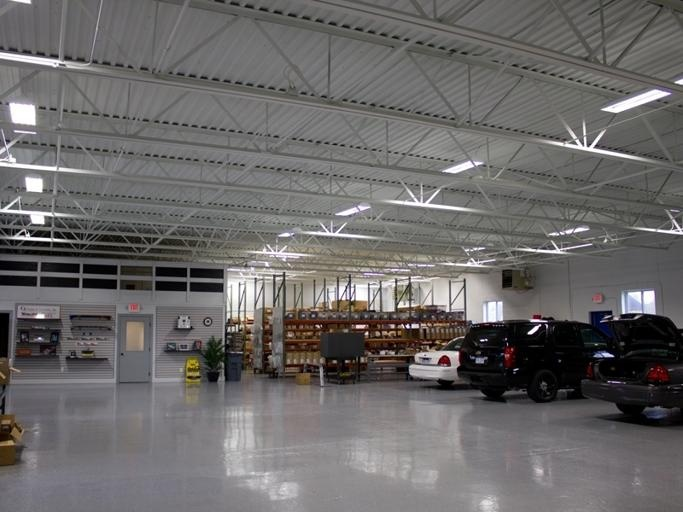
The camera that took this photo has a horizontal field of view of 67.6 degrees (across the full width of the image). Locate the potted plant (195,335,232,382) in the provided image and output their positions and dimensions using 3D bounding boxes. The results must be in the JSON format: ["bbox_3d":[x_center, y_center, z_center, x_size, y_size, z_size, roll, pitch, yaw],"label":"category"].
[{"bbox_3d":[-5.372,4.350,21.238,1.165,1.635,1.202,-3,-13,12],"label":"potted plant"}]

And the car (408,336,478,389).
[{"bbox_3d":[3.268,3.220,15.332,2.474,0.719,0.989,1,-1,-27],"label":"car"}]

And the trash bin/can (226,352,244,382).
[{"bbox_3d":[-4.354,4.455,20.590,0.597,1.094,1.289,2,-9,-17],"label":"trash bin/can"}]
